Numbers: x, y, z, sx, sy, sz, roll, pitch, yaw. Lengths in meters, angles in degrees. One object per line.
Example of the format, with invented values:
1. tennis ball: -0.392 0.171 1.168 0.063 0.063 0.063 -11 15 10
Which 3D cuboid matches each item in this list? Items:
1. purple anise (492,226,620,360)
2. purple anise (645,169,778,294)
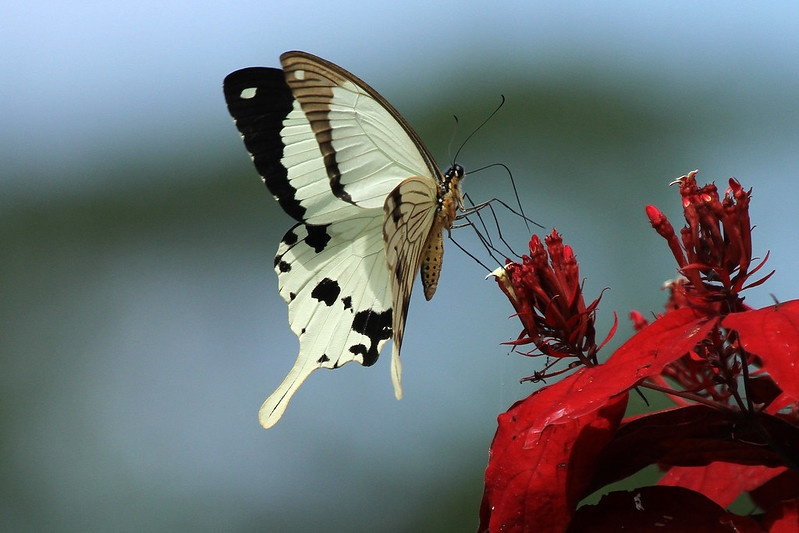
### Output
1. purple anise: 0.232 0.053 1.301 0.166 0.170 0.071 -12 -6 15
2. purple anise: 0.437 -0.047 1.238 0.114 0.169 0.151 -5 -8 -44
